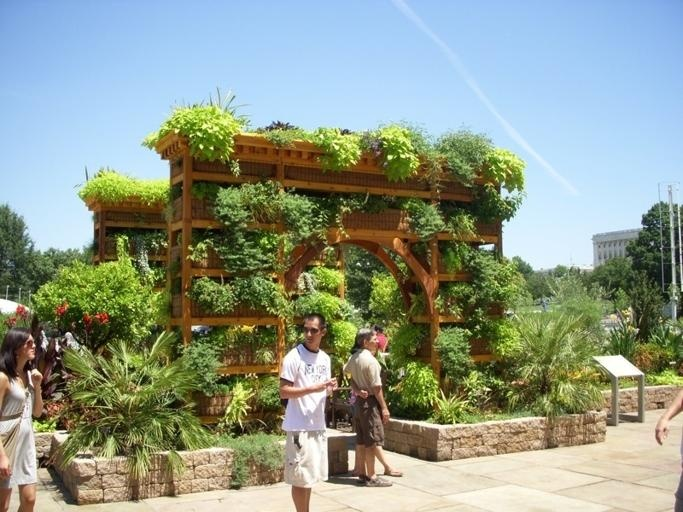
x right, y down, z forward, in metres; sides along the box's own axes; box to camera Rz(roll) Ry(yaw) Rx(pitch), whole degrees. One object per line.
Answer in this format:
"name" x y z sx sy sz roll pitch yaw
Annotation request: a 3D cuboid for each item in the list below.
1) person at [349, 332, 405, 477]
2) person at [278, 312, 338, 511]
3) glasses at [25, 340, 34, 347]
"person" 0.395 2.211 9.002 0.607 2.240 0.388 -3 -6 17
"person" -0.343 1.659 6.458 0.584 2.083 0.405 -1 -6 -2
"glasses" -3.102 0.869 6.105 0.050 0.081 0.058 -16 -14 38
